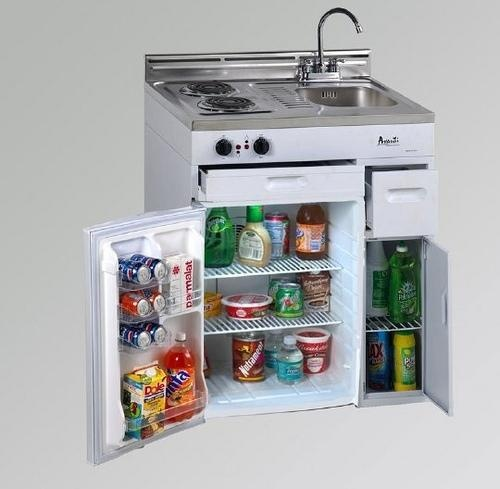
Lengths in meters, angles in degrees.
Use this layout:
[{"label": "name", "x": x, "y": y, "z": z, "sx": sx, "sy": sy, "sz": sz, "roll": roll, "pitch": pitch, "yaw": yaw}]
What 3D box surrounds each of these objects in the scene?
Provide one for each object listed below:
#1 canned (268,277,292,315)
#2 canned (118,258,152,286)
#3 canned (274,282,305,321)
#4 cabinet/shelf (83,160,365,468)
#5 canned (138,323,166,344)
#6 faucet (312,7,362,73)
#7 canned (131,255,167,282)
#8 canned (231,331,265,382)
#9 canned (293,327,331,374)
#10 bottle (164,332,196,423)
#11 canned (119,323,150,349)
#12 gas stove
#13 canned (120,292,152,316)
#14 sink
[{"label": "canned", "x": 0.094, "y": 0.222, "z": 2.400, "sx": 0.133, "sy": 0.126, "sz": 0.128, "roll": 0, "pitch": 15, "yaw": -3}, {"label": "canned", "x": -0.327, "y": 0.077, "z": 1.578, "sx": 0.080, "sy": 0.041, "sz": 0.046, "roll": 17, "pitch": 42, "yaw": 35}, {"label": "canned", "x": 0.155, "y": 0.235, "z": 2.328, "sx": 0.148, "sy": 0.133, "sz": 0.135, "roll": 0, "pitch": 8, "yaw": -1}, {"label": "cabinet/shelf", "x": -0.067, "y": 0.188, "z": 1.954, "sx": 1.053, "sy": 0.737, "sz": 0.534, "roll": -5, "pitch": 12, "yaw": -25}, {"label": "canned", "x": -0.290, "y": 0.261, "z": 1.655, "sx": 0.079, "sy": 0.029, "sz": 0.050, "roll": 8, "pitch": 8, "yaw": 40}, {"label": "faucet", "x": 0.394, "y": -0.941, "z": 2.569, "sx": 0.175, "sy": 0.263, "sz": 0.423, "roll": 5, "pitch": 2, "yaw": 1}, {"label": "canned", "x": -0.292, "y": 0.067, "z": 1.592, "sx": 0.075, "sy": 0.039, "sz": 0.040, "roll": 12, "pitch": 37, "yaw": 25}, {"label": "canned", "x": -0.010, "y": 0.469, "z": 2.334, "sx": 0.143, "sy": 0.189, "sz": 0.131, "roll": 1, "pitch": 1, "yaw": -22}, {"label": "canned", "x": 0.264, "y": 0.450, "z": 2.449, "sx": 0.195, "sy": 0.162, "sz": 0.178, "roll": -2, "pitch": 12, "yaw": -2}, {"label": "bottle", "x": -0.244, "y": 0.437, "z": 1.832, "sx": 0.131, "sy": 0.282, "sz": 0.117, "roll": -1, "pitch": -13, "yaw": 0}, {"label": "canned", "x": -0.336, "y": 0.272, "z": 1.646, "sx": 0.083, "sy": 0.060, "sz": 0.063, "roll": 5, "pitch": 2, "yaw": 36}, {"label": "gas stove", "x": -0.125, "y": -0.544, "z": 2.307, "sx": 0.346, "sy": 0.307, "sz": 0.742, "roll": 4, "pitch": 2, "yaw": -9}, {"label": "canned", "x": -0.329, "y": 0.170, "z": 1.596, "sx": 0.065, "sy": 0.037, "sz": 0.039, "roll": 13, "pitch": 45, "yaw": 32}, {"label": "sink", "x": 0.476, "y": -0.693, "z": 2.595, "sx": 0.500, "sy": 0.133, "sz": 0.218, "roll": 5, "pitch": 2, "yaw": 37}]
